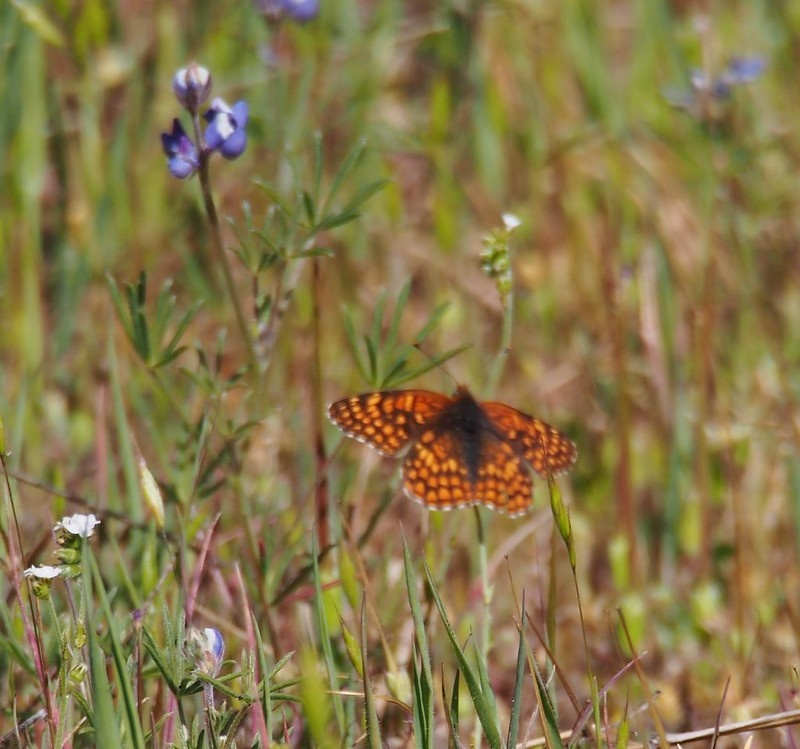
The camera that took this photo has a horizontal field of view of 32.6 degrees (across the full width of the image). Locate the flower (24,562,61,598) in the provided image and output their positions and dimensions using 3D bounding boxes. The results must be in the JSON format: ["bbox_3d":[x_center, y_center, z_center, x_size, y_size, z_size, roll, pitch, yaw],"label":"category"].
[{"bbox_3d":[-0.696,0.400,2.643,0.062,0.083,0.060,-2,70,-9],"label":"flower"}]

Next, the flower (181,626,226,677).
[{"bbox_3d":[-0.369,0.534,2.589,0.091,0.060,0.046,-28,107,-34],"label":"flower"}]

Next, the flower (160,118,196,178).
[{"bbox_3d":[-0.440,-0.444,2.716,0.053,0.035,0.134,-1,95,4],"label":"flower"}]

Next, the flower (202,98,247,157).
[{"bbox_3d":[-0.348,-0.492,2.725,0.079,0.052,0.112,3,82,0],"label":"flower"}]
